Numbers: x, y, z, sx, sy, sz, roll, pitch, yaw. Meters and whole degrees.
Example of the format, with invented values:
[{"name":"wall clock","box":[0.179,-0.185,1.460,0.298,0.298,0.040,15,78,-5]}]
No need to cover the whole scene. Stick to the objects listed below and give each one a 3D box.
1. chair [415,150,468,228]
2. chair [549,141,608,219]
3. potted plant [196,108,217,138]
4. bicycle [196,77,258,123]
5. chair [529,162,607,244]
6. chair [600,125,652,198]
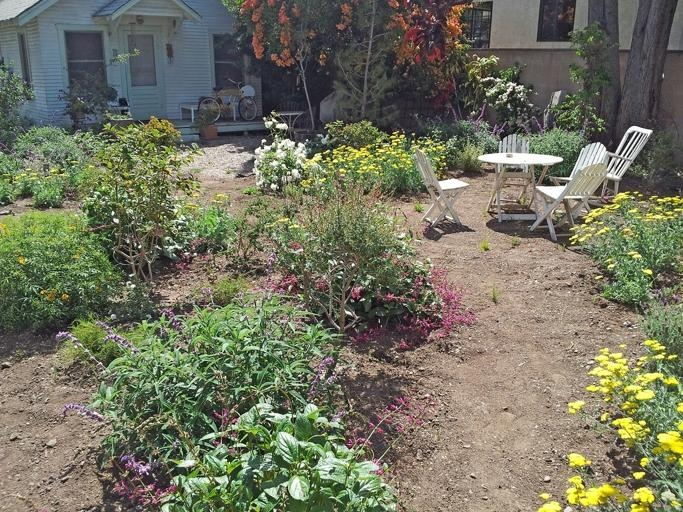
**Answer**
[{"name":"chair","box":[1.408,-1.011,8.462,0.775,1.008,0.870,-8,21,-22]},{"name":"chair","box":[4.019,-1.112,9.467,1.188,1.106,1.019,3,24,25]},{"name":"potted plant","box":[-3.690,-3.603,16.096,0.494,0.768,1.400,-4,20,-11]},{"name":"bicycle","box":[-3.405,-4.449,17.400,1.901,1.215,1.011,-17,41,-26]},{"name":"chair","box":[3.039,-0.775,7.932,0.535,1.080,0.828,-1,19,-26]},{"name":"chair","box":[4.728,-1.562,9.697,0.541,1.043,2.887,9,21,25]}]
